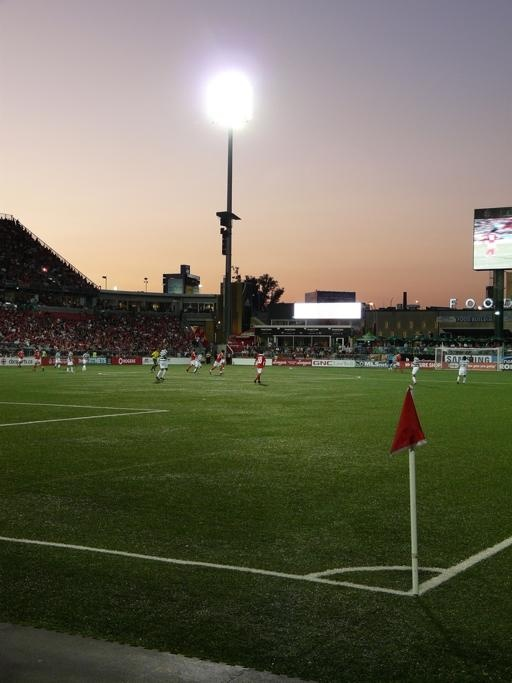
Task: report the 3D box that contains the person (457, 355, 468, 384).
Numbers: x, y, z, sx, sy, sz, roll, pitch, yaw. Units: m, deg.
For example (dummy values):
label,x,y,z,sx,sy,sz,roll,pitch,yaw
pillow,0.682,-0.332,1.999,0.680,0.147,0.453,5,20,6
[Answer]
label,x,y,z,sx,sy,sz,roll,pitch,yaw
person,13.191,1.778,48.326,0.557,1.898,0.444,-6,-47,21
